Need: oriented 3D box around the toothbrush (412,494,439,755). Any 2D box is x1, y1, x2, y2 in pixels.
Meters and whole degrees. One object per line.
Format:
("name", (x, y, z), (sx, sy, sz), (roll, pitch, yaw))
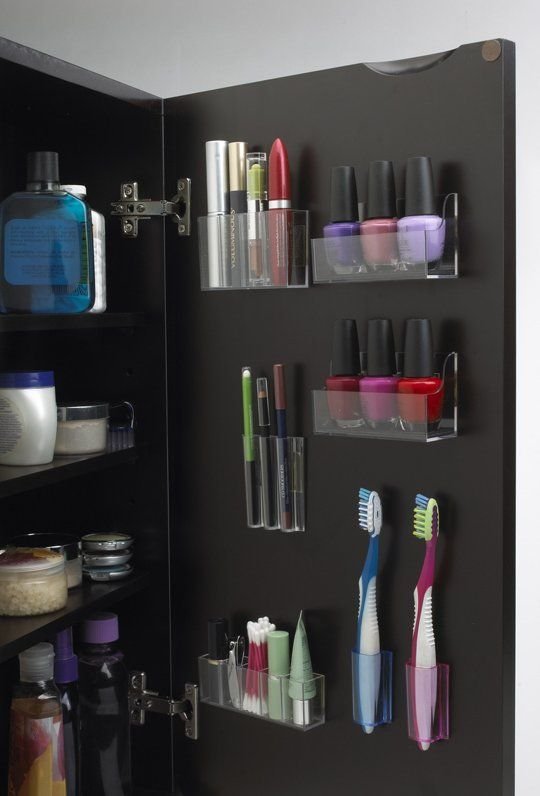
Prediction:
("toothbrush", (0.152, 0.220, 0.749), (0.017, 0.237, 0.017), (10, -11, -39))
